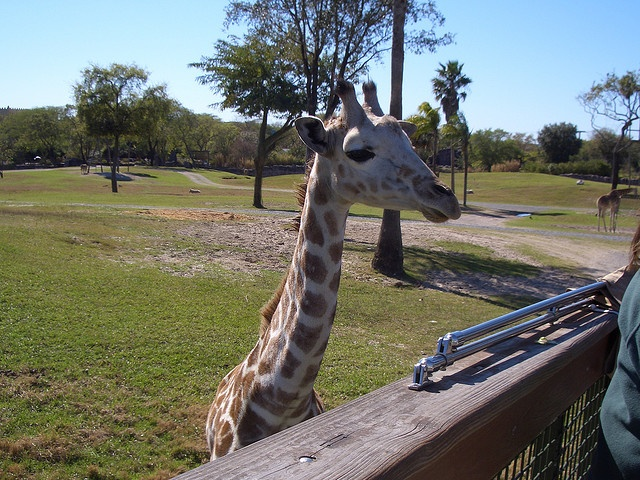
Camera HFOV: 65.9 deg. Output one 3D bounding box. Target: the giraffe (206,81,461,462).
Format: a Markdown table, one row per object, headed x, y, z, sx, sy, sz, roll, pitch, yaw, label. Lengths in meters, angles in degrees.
| x | y | z | sx | sy | sz | roll | pitch | yaw | label |
| --- | --- | --- | --- | --- | --- | --- | --- | --- | --- |
| 0.009 | 0.294 | 3.985 | 2.092 | 3.017 | 0.725 | -5 | 9 | -1 | giraffe |
